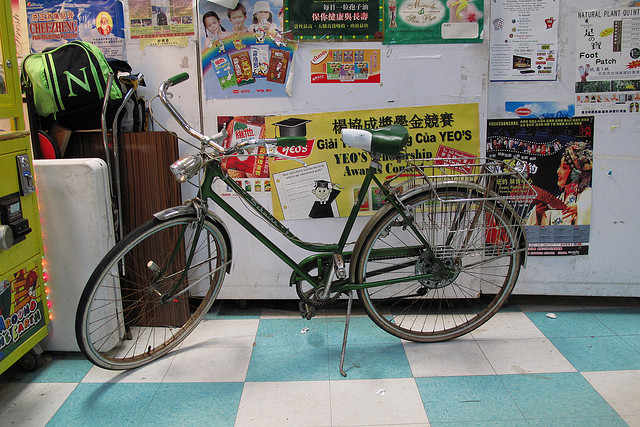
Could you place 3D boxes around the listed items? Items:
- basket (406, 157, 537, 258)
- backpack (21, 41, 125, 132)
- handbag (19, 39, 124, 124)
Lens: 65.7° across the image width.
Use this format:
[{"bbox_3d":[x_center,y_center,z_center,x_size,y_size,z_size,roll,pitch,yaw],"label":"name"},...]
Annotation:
[{"bbox_3d":[1.093,0.000,3.312,0.516,0.460,0.721,15,-10,-10],"label":"basket"},{"bbox_3d":[-1.583,-0.780,3.318,0.644,0.638,0.473,-15,-21,-20],"label":"backpack"},{"bbox_3d":[-1.658,-0.899,3.348,0.591,0.564,0.428,-18,25,2],"label":"handbag"}]
